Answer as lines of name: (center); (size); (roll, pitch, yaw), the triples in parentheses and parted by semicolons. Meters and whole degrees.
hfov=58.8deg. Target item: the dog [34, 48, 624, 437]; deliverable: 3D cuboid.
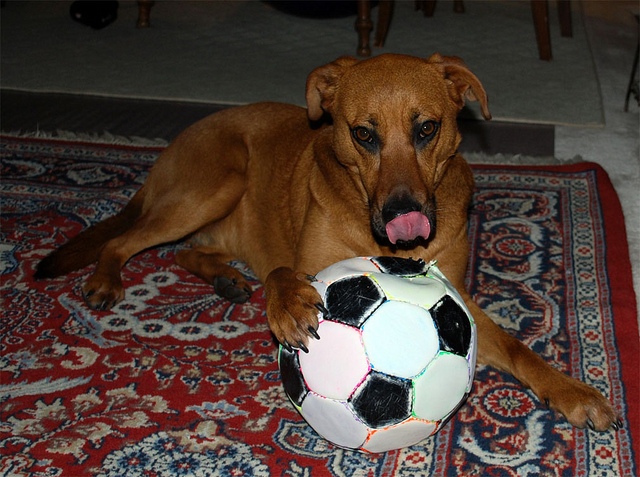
dog: (-0.290, -0.208, 3.385); (2.314, 1.242, 2.702); (-5, 18, -19)
